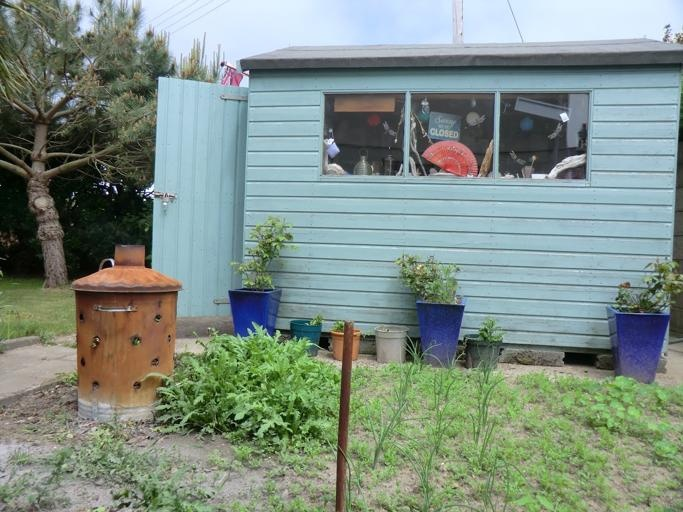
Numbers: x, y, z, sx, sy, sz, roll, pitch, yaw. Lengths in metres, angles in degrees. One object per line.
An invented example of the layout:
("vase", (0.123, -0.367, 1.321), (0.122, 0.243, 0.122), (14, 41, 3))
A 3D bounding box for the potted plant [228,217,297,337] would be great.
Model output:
("potted plant", (-0.989, 0.251, 7.411), (0.725, 1.520, 0.690), (3, 3, -4))

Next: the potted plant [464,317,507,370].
("potted plant", (1.700, 1.036, 7.125), (0.522, 0.602, 0.492), (0, 2, -40))

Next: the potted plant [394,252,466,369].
("potted plant", (1.058, 0.637, 7.158), (0.782, 1.272, 0.662), (3, 3, 5))

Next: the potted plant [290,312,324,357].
("potted plant", (-0.418, 1.006, 7.384), (0.374, 0.416, 0.368), (2, 6, 12))

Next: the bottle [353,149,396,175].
("bottle", (0.450, -1.209, 7.679), (0.506, 0.320, 0.304), (0, 4, 1))

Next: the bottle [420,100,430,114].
("bottle", (1.071, -1.901, 7.575), (0.129, 0.242, 0.143), (2, 9, 21))

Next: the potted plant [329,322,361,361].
("potted plant", (0.049, 1.025, 7.105), (0.524, 0.442, 0.552), (1, -5, 4))

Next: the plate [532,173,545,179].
("plate", (2.456, -0.996, 7.410), (0.126, 0.091, 0.069), (1, -20, 4))
